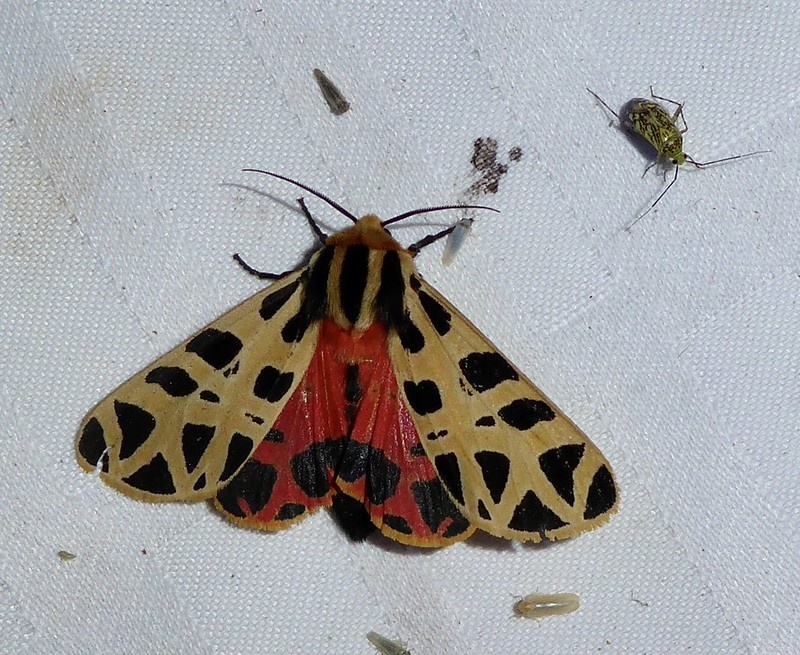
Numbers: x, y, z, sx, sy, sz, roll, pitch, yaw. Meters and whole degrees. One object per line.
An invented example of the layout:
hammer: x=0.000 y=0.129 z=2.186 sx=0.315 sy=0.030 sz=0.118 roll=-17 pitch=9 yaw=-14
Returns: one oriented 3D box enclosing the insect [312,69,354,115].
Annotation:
insect: x=-0.317 y=-1.063 z=5.080 sx=0.095 sy=0.063 sz=0.243 roll=-32 pitch=92 yaw=6
